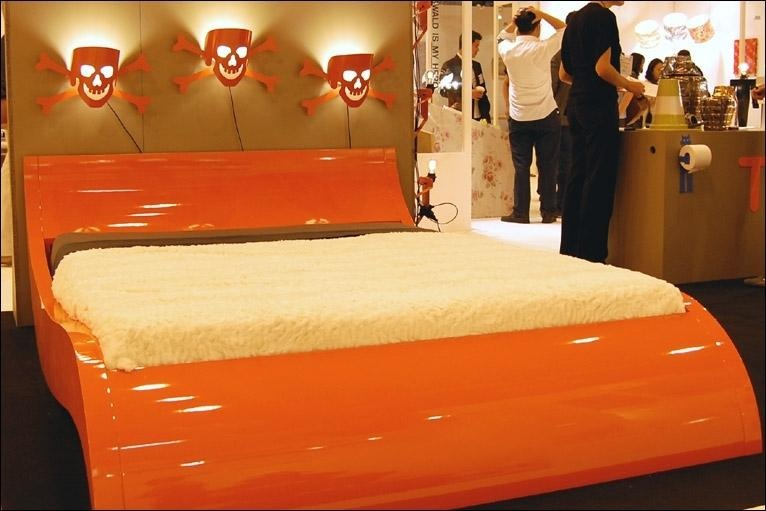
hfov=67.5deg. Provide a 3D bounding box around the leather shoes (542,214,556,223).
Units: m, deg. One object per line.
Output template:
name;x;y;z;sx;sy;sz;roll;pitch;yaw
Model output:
leather shoes;1.794;-0.391;6.191;0.119;0.080;0.091;2;3;-5

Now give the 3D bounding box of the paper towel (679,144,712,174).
paper towel;1.989;-0.624;3.668;0.223;0.187;0.171;0;5;-32

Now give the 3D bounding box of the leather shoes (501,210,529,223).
leather shoes;1.447;-0.418;6.250;0.120;0.141;0.342;-7;11;-42

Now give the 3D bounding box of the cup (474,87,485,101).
cup;1.018;-1.731;6.180;0.106;0.126;0.138;0;-3;-18

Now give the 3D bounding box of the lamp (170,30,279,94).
lamp;-0.954;-1.134;3.355;0.433;0.211;0.146;-4;10;-26

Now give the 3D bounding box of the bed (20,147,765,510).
bed;-0.301;0.055;2.502;2.078;0.871;2.866;-8;16;-31

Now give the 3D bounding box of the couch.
couch;1.010;-0.643;6.007;1.034;1.734;1.829;-2;7;-3

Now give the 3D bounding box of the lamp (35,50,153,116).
lamp;-1.619;-0.950;3.154;0.408;0.194;0.140;-3;10;-27

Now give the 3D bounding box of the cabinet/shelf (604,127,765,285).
cabinet/shelf;1.993;-0.354;3.800;1.007;0.888;0.529;-6;12;-29
